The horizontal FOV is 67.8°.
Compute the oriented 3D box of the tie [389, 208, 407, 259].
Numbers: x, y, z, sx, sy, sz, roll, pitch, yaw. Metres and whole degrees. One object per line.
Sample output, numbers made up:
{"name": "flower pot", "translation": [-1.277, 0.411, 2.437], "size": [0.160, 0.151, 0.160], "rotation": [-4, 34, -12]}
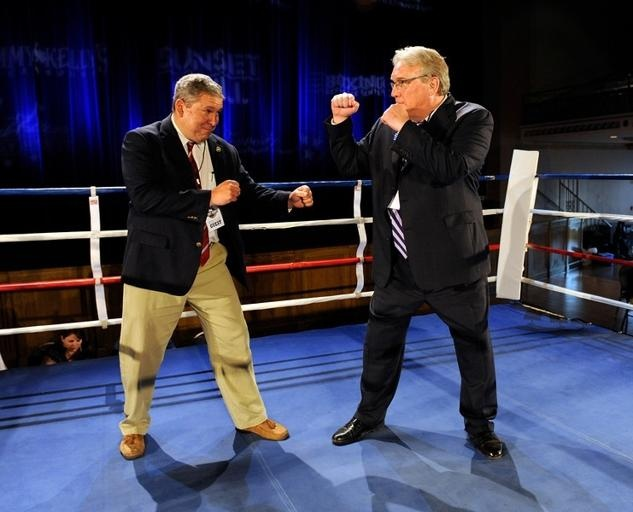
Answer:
{"name": "tie", "translation": [0.335, -0.097, 1.915], "size": [0.061, 0.217, 0.028], "rotation": [-18, -5, 37]}

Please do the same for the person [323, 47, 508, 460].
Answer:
{"name": "person", "translation": [0.420, -0.010, 1.981], "size": [0.753, 1.643, 0.407], "rotation": [2, 13, 12]}

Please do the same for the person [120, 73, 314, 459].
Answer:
{"name": "person", "translation": [-0.494, 0.031, 2.081], "size": [0.864, 1.578, 0.523], "rotation": [-7, 14, -25]}

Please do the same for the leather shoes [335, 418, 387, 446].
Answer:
{"name": "leather shoes", "translation": [0.196, 0.760, 2.096], "size": [0.228, 0.089, 0.082], "rotation": [-5, 3, -30]}

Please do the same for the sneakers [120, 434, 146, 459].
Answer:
{"name": "sneakers", "translation": [-0.790, 0.804, 2.020], "size": [0.102, 0.074, 0.143], "rotation": [-6, 14, -20]}

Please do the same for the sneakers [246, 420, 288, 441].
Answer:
{"name": "sneakers", "translation": [-0.212, 0.777, 2.121], "size": [0.145, 0.053, 0.090], "rotation": [-2, 1, 12]}
